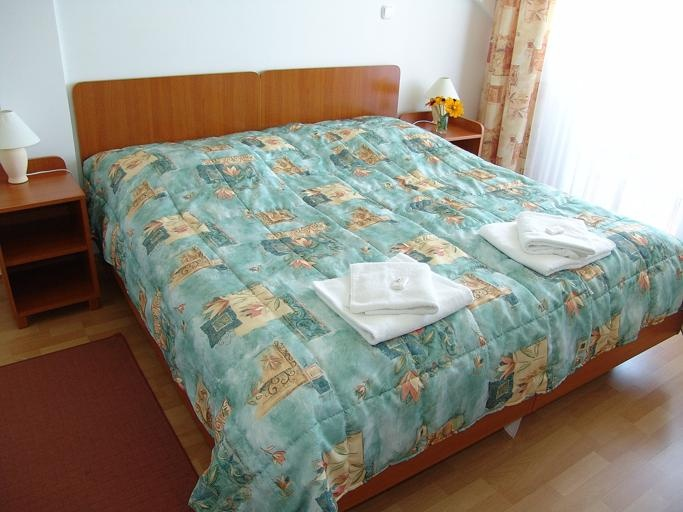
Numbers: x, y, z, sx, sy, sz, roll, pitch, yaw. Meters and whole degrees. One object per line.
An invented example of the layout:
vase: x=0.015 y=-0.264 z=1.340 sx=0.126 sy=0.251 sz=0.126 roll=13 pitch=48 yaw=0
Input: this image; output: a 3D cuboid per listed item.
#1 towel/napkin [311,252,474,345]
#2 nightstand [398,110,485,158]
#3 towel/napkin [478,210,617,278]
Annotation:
towel/napkin: x=0.201 y=0.139 z=1.880 sx=0.512 sy=0.137 sz=0.393 roll=-14 pitch=30 yaw=-29
nightstand: x=0.739 y=-0.931 z=3.626 sx=0.461 sy=0.414 sz=0.326 roll=-20 pitch=50 yaw=-17
towel/napkin: x=0.966 y=-0.084 z=2.263 sx=0.478 sy=0.142 sz=0.438 roll=-14 pitch=30 yaw=-29
